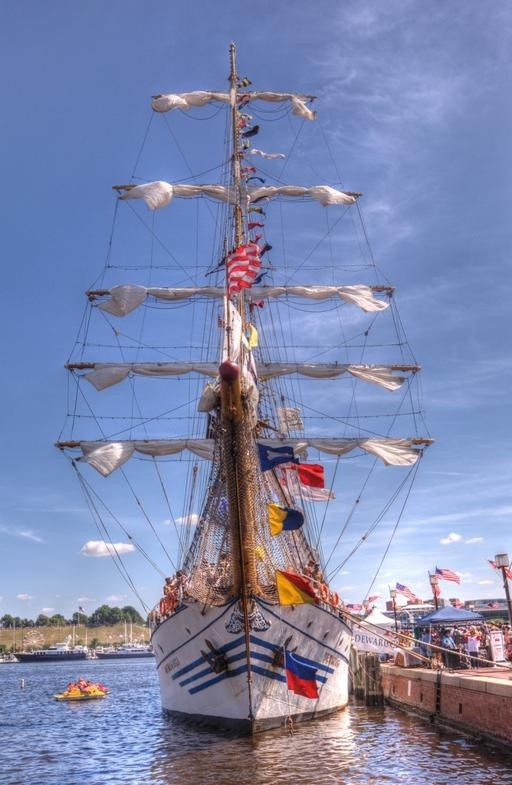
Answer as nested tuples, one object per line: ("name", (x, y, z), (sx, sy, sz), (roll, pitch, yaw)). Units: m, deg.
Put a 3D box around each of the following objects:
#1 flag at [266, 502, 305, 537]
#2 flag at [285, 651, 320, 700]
("flag", (0.783, 3.415, 21.686), (0.884, 0.811, 0.856), (-1, -17, 1))
("flag", (1.220, 7.727, 22.101), (1.050, 1.167, 0.581), (-7, -19, 20))
